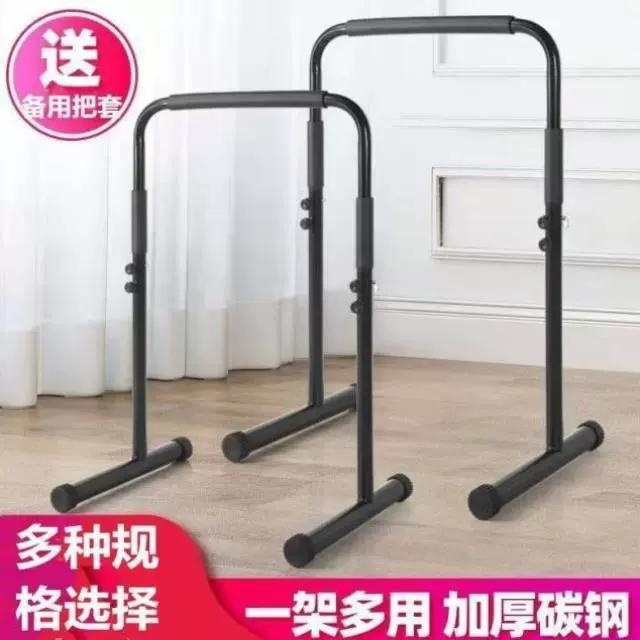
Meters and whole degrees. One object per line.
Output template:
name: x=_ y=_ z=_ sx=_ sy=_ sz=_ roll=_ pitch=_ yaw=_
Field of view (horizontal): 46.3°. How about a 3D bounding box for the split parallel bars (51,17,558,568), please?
split parallel bars: x=-0.001 y=-0.189 z=1.983 sx=0.932 sy=1.355 sz=1.194 roll=4 pitch=7 yaw=35
